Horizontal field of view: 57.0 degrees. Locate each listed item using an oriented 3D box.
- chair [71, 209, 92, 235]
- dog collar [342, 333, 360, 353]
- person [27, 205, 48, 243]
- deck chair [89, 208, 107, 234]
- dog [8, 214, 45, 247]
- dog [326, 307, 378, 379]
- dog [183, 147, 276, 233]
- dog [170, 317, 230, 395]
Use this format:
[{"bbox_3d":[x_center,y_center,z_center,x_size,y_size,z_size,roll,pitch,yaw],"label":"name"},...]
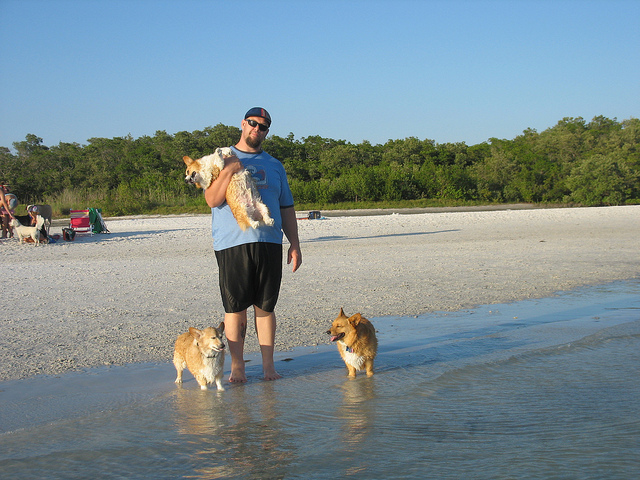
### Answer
[{"bbox_3d":[-8.734,-0.691,21.718,0.814,1.004,1.116,-1,-1,-13],"label":"chair"},{"bbox_3d":[0.295,1.011,5.900,0.112,0.152,0.057,-1,-21,45],"label":"dog collar"},{"bbox_3d":[-8.766,-0.506,18.309,0.251,1.058,0.583,-16,-10,26],"label":"person"},{"bbox_3d":[-8.299,-0.756,22.171,0.721,0.962,0.286,-4,14,2],"label":"deck chair"},{"bbox_3d":[-8.959,-0.325,18.066,0.856,0.868,1.556,-5,9,-28],"label":"dog"},{"bbox_3d":[0.322,1.037,6.005,0.492,0.631,0.354,-1,8,2],"label":"dog"},{"bbox_3d":[-0.798,-0.470,5.645,0.984,0.511,0.293,8,-15,7],"label":"dog"},{"bbox_3d":[-1.197,1.121,5.813,0.370,0.667,0.988,-3,2,-35],"label":"dog"}]
